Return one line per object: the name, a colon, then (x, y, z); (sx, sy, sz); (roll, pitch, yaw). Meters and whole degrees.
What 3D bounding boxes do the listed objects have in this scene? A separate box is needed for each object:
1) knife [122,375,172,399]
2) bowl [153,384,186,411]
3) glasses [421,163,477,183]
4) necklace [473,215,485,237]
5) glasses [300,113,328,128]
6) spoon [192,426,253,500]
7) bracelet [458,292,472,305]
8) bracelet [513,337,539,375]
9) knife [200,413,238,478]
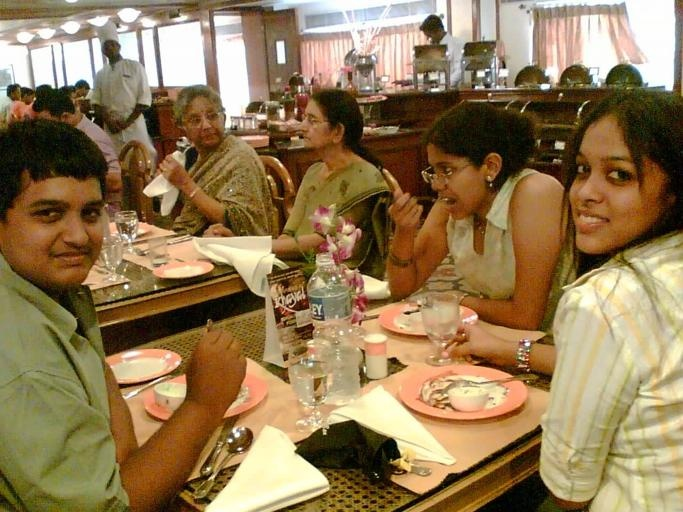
knife: (-0.527, 0.357, 1.425); (0.016, 0.015, 0.114); (28, 30, 21)
bowl: (-0.437, 0.346, 1.331); (0.069, 0.038, 0.071); (2, 5, 0)
glasses: (0.404, -0.314, 2.001); (0.108, 0.034, 0.102); (-21, 12, -26)
necklace: (0.547, -0.114, 2.101); (0.031, 0.078, 0.057); (-5, 20, -15)
glasses: (-0.145, -0.704, 2.833); (0.100, 0.028, 0.093); (5, 3, -23)
spoon: (-0.253, 0.440, 1.110); (0.050, 0.028, 0.206); (6, 26, 17)
bracelet: (0.447, 0.159, 1.936); (0.036, 0.044, 0.020); (4, 1, 36)
bracelet: (0.497, 0.275, 1.438); (0.052, 0.080, 0.078); (7, 7, 6)
knife: (-0.278, 0.422, 1.178); (0.019, 0.010, 0.137); (0, 19, 13)
